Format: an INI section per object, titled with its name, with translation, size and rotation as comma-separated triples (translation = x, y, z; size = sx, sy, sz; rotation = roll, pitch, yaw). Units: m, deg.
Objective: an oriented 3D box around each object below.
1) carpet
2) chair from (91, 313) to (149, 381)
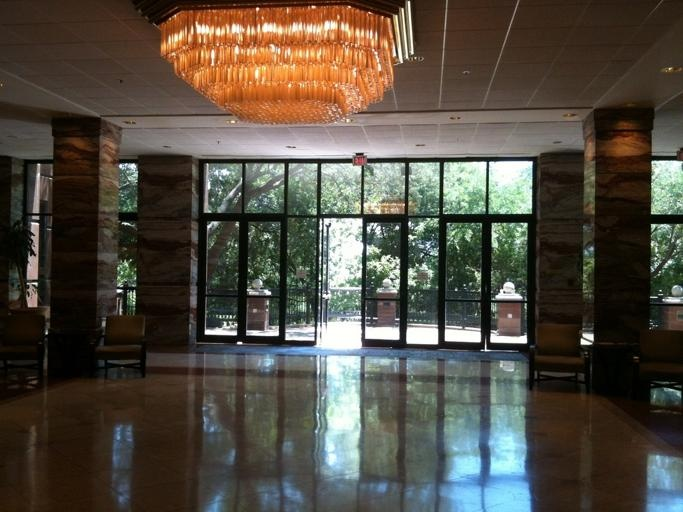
[carpet]
translation = 0.389, 2.111, 12.887
size = 6.985, 0.112, 1.560
rotation = 1, 3, 5
[chair]
translation = -3.846, 1.536, 10.458
size = 1.022, 1.109, 1.126
rotation = 0, -11, -8
